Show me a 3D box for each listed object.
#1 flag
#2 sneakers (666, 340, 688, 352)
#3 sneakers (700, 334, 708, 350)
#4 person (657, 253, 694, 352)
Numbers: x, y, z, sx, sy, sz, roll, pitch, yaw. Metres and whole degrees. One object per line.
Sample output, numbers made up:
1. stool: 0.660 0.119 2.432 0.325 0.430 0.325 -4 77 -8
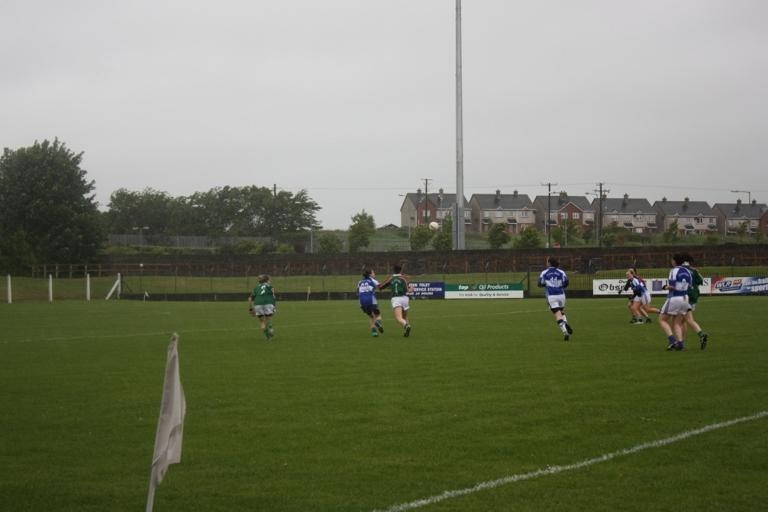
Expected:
1. flag: -4.685 3.227 21.609 0.648 3.201 0.645 -1 -1 -5
2. sneakers: 9.109 2.745 31.223 0.248 0.277 0.627 -18 0 10
3. sneakers: 10.021 2.578 31.091 0.220 0.637 0.297 -3 2 -2
4. person: 9.077 1.376 31.112 0.932 2.984 1.199 -1 -1 7
